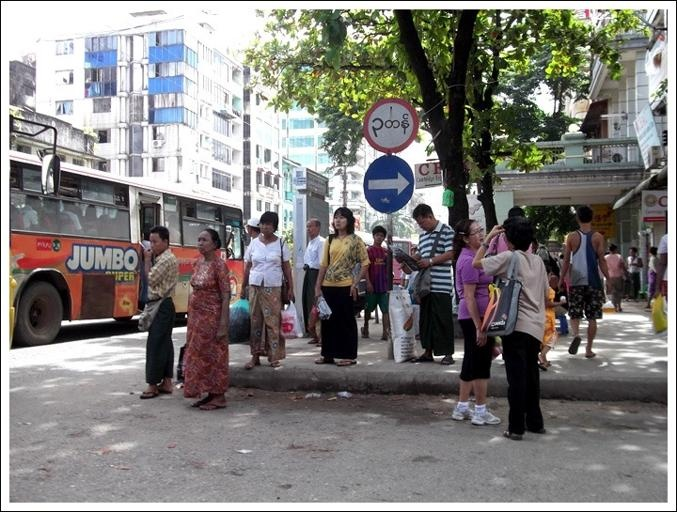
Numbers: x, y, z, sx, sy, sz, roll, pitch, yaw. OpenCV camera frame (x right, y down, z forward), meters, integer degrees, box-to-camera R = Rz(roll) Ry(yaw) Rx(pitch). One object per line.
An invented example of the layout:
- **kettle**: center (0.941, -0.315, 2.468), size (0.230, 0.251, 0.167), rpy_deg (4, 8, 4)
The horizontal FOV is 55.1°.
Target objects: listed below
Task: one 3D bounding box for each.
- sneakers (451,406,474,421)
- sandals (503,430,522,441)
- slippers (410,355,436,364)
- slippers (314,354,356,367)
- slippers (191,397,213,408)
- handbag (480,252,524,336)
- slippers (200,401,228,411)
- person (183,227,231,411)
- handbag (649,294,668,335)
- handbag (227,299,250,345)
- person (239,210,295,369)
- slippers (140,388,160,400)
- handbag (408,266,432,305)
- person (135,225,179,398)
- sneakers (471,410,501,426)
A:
- **sneakers**: center (1.299, 1.653, 6.812), size (0.229, 0.114, 0.100), rpy_deg (-2, 1, -24)
- **sandals**: center (1.632, 1.671, 6.086), size (0.063, 0.066, 0.145), rpy_deg (2, 8, -43)
- **slippers**: center (1.149, 1.412, 8.858), size (0.306, 0.120, 0.112), rpy_deg (5, -7, -18)
- **slippers**: center (-0.063, 1.402, 8.732), size (0.579, 0.118, 0.420), rpy_deg (-3, -4, 19)
- **slippers**: center (-1.556, 1.661, 7.389), size (0.297, 0.130, 0.108), rpy_deg (3, -7, 2)
- **handbag**: center (1.561, 0.373, 6.164), size (0.164, 0.740, 0.612), rpy_deg (19, -19, -7)
- **slippers**: center (-1.400, 1.676, 7.277), size (0.270, 0.123, 0.100), rpy_deg (5, -11, -15)
- **person**: center (-1.502, 0.703, 7.344), size (0.514, 2.026, 0.311), rpy_deg (-1, -3, -13)
- **handbag**: center (4.596, 0.836, 9.278), size (0.179, 0.595, 1.369), rpy_deg (-3, -4, 27)
- **handbag**: center (-1.394, 0.896, 9.004), size (0.357, 0.631, 0.406), rpy_deg (8, 2, 1)
- **person**: center (-0.953, 0.425, 8.589), size (0.699, 2.071, 0.410), rpy_deg (-1, -3, -7)
- **slippers**: center (-2.294, 1.651, 7.788), size (0.095, 0.083, 0.189), rpy_deg (-3, -10, 18)
- **handbag**: center (1.087, 0.389, 8.714), size (0.161, 0.360, 0.293), rpy_deg (-17, -27, -18)
- **person**: center (-2.199, 0.672, 7.859), size (0.437, 2.054, 0.448), rpy_deg (0, -3, -17)
- **sneakers**: center (1.500, 1.645, 6.655), size (0.309, 0.162, 0.125), rpy_deg (0, 2, -12)
